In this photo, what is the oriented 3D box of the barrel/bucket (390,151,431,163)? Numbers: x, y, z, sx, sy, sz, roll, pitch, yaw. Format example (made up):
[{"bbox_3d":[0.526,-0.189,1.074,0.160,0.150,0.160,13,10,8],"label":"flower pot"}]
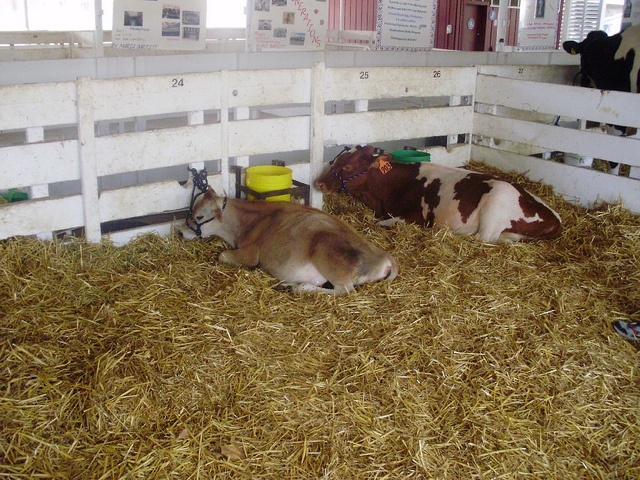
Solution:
[{"bbox_3d":[1.032,-0.940,5.674,0.312,0.107,0.288,-3,18,1],"label":"barrel/bucket"}]

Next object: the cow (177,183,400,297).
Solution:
[{"bbox_3d":[-0.242,-0.013,4.009,1.919,0.670,0.699,18,20,24],"label":"cow"}]
